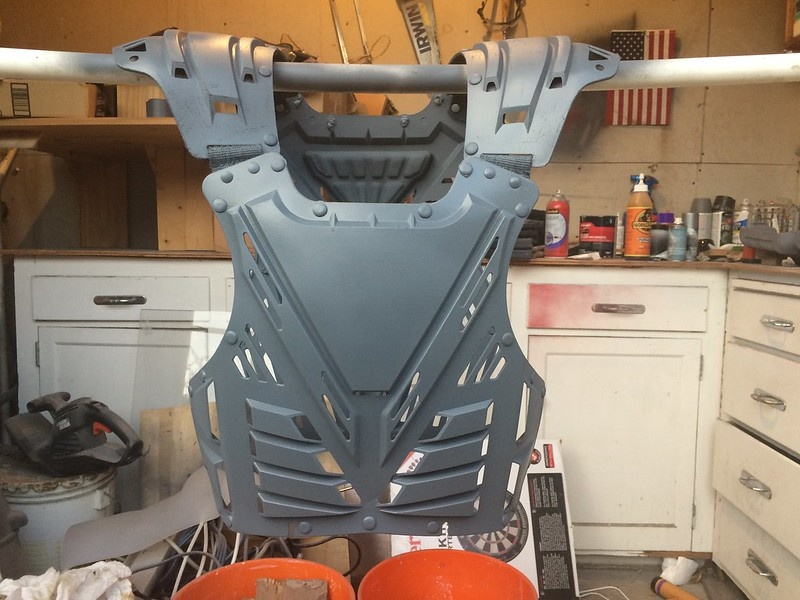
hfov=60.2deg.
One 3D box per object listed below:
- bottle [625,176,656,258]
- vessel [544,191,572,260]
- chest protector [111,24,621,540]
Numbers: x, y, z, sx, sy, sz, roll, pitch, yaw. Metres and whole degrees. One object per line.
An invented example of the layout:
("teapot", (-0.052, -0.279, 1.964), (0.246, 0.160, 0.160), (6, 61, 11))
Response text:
("bottle", (0.885, -0.305, 2.557), (0.091, 0.296, 0.139), (3, 14, 17))
("vessel", (0.585, -0.269, 2.570), (0.094, 0.242, 0.095), (2, 5, -7))
("chest protector", (-0.079, -0.043, 1.740), (1.121, 1.132, 0.611), (1, 14, 0))
